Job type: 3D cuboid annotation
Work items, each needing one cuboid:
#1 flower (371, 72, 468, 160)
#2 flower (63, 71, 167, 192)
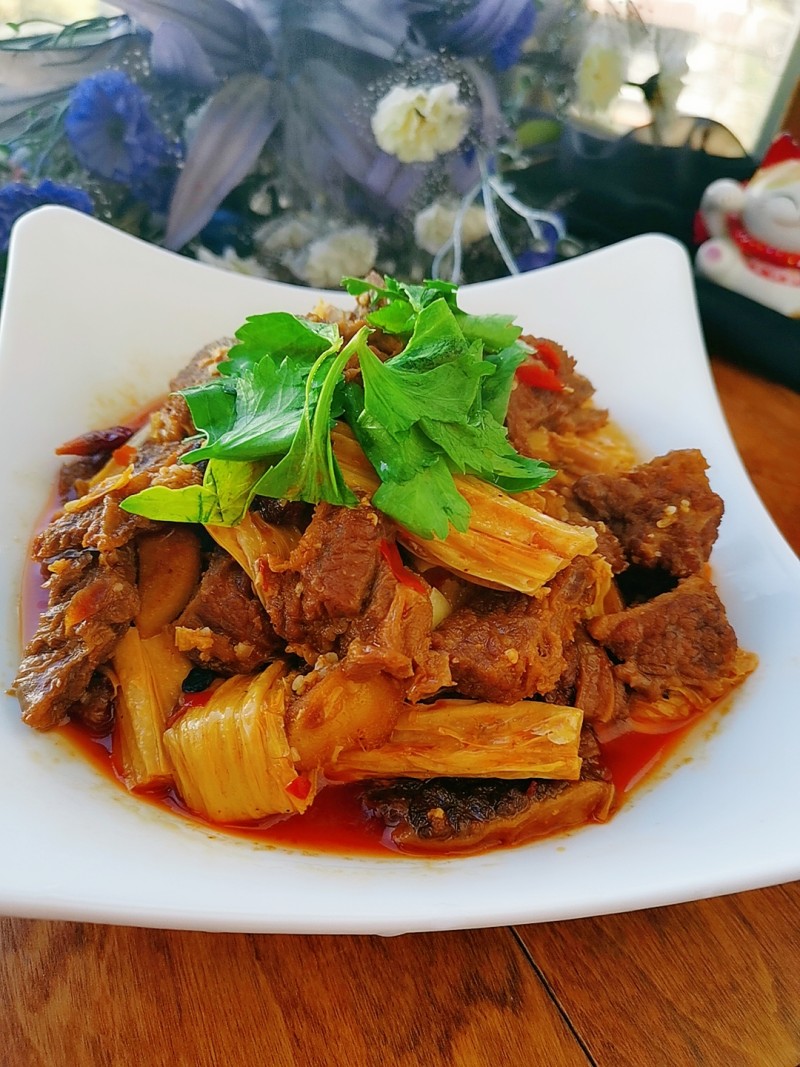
[{"bbox_3d":[0.064,-1.345,3.492,0.326,0.242,0.111,-7,50,-6],"label":"flower"},{"bbox_3d":[-0.843,-1.224,3.226,0.300,0.288,0.092,-8,22,-24],"label":"flower"}]
